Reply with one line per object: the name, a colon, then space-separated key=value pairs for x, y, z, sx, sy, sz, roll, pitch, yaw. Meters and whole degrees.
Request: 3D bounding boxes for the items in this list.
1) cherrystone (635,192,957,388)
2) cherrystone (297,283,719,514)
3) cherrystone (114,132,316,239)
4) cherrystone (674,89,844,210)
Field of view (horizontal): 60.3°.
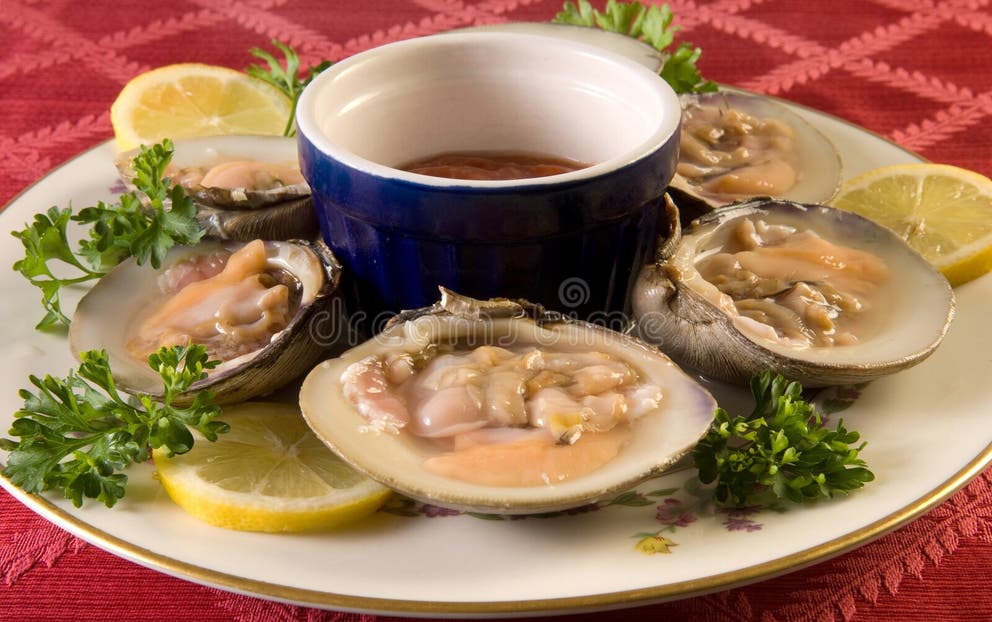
cherrystone: x=0.577 y=-0.040 z=1.675 sx=0.509 sy=0.171 sz=0.413 roll=9 pitch=40 yaw=23
cherrystone: x=0.004 y=0.167 z=1.472 sx=0.593 sy=0.175 sz=0.453 roll=10 pitch=35 yaw=10
cherrystone: x=-0.617 y=-0.253 z=1.890 sx=0.404 sy=0.103 sz=0.280 roll=-2 pitch=43 yaw=-7
cherrystone: x=0.590 y=-0.411 z=2.165 sx=0.453 sy=0.388 sz=0.113 roll=1 pitch=88 yaw=-27
